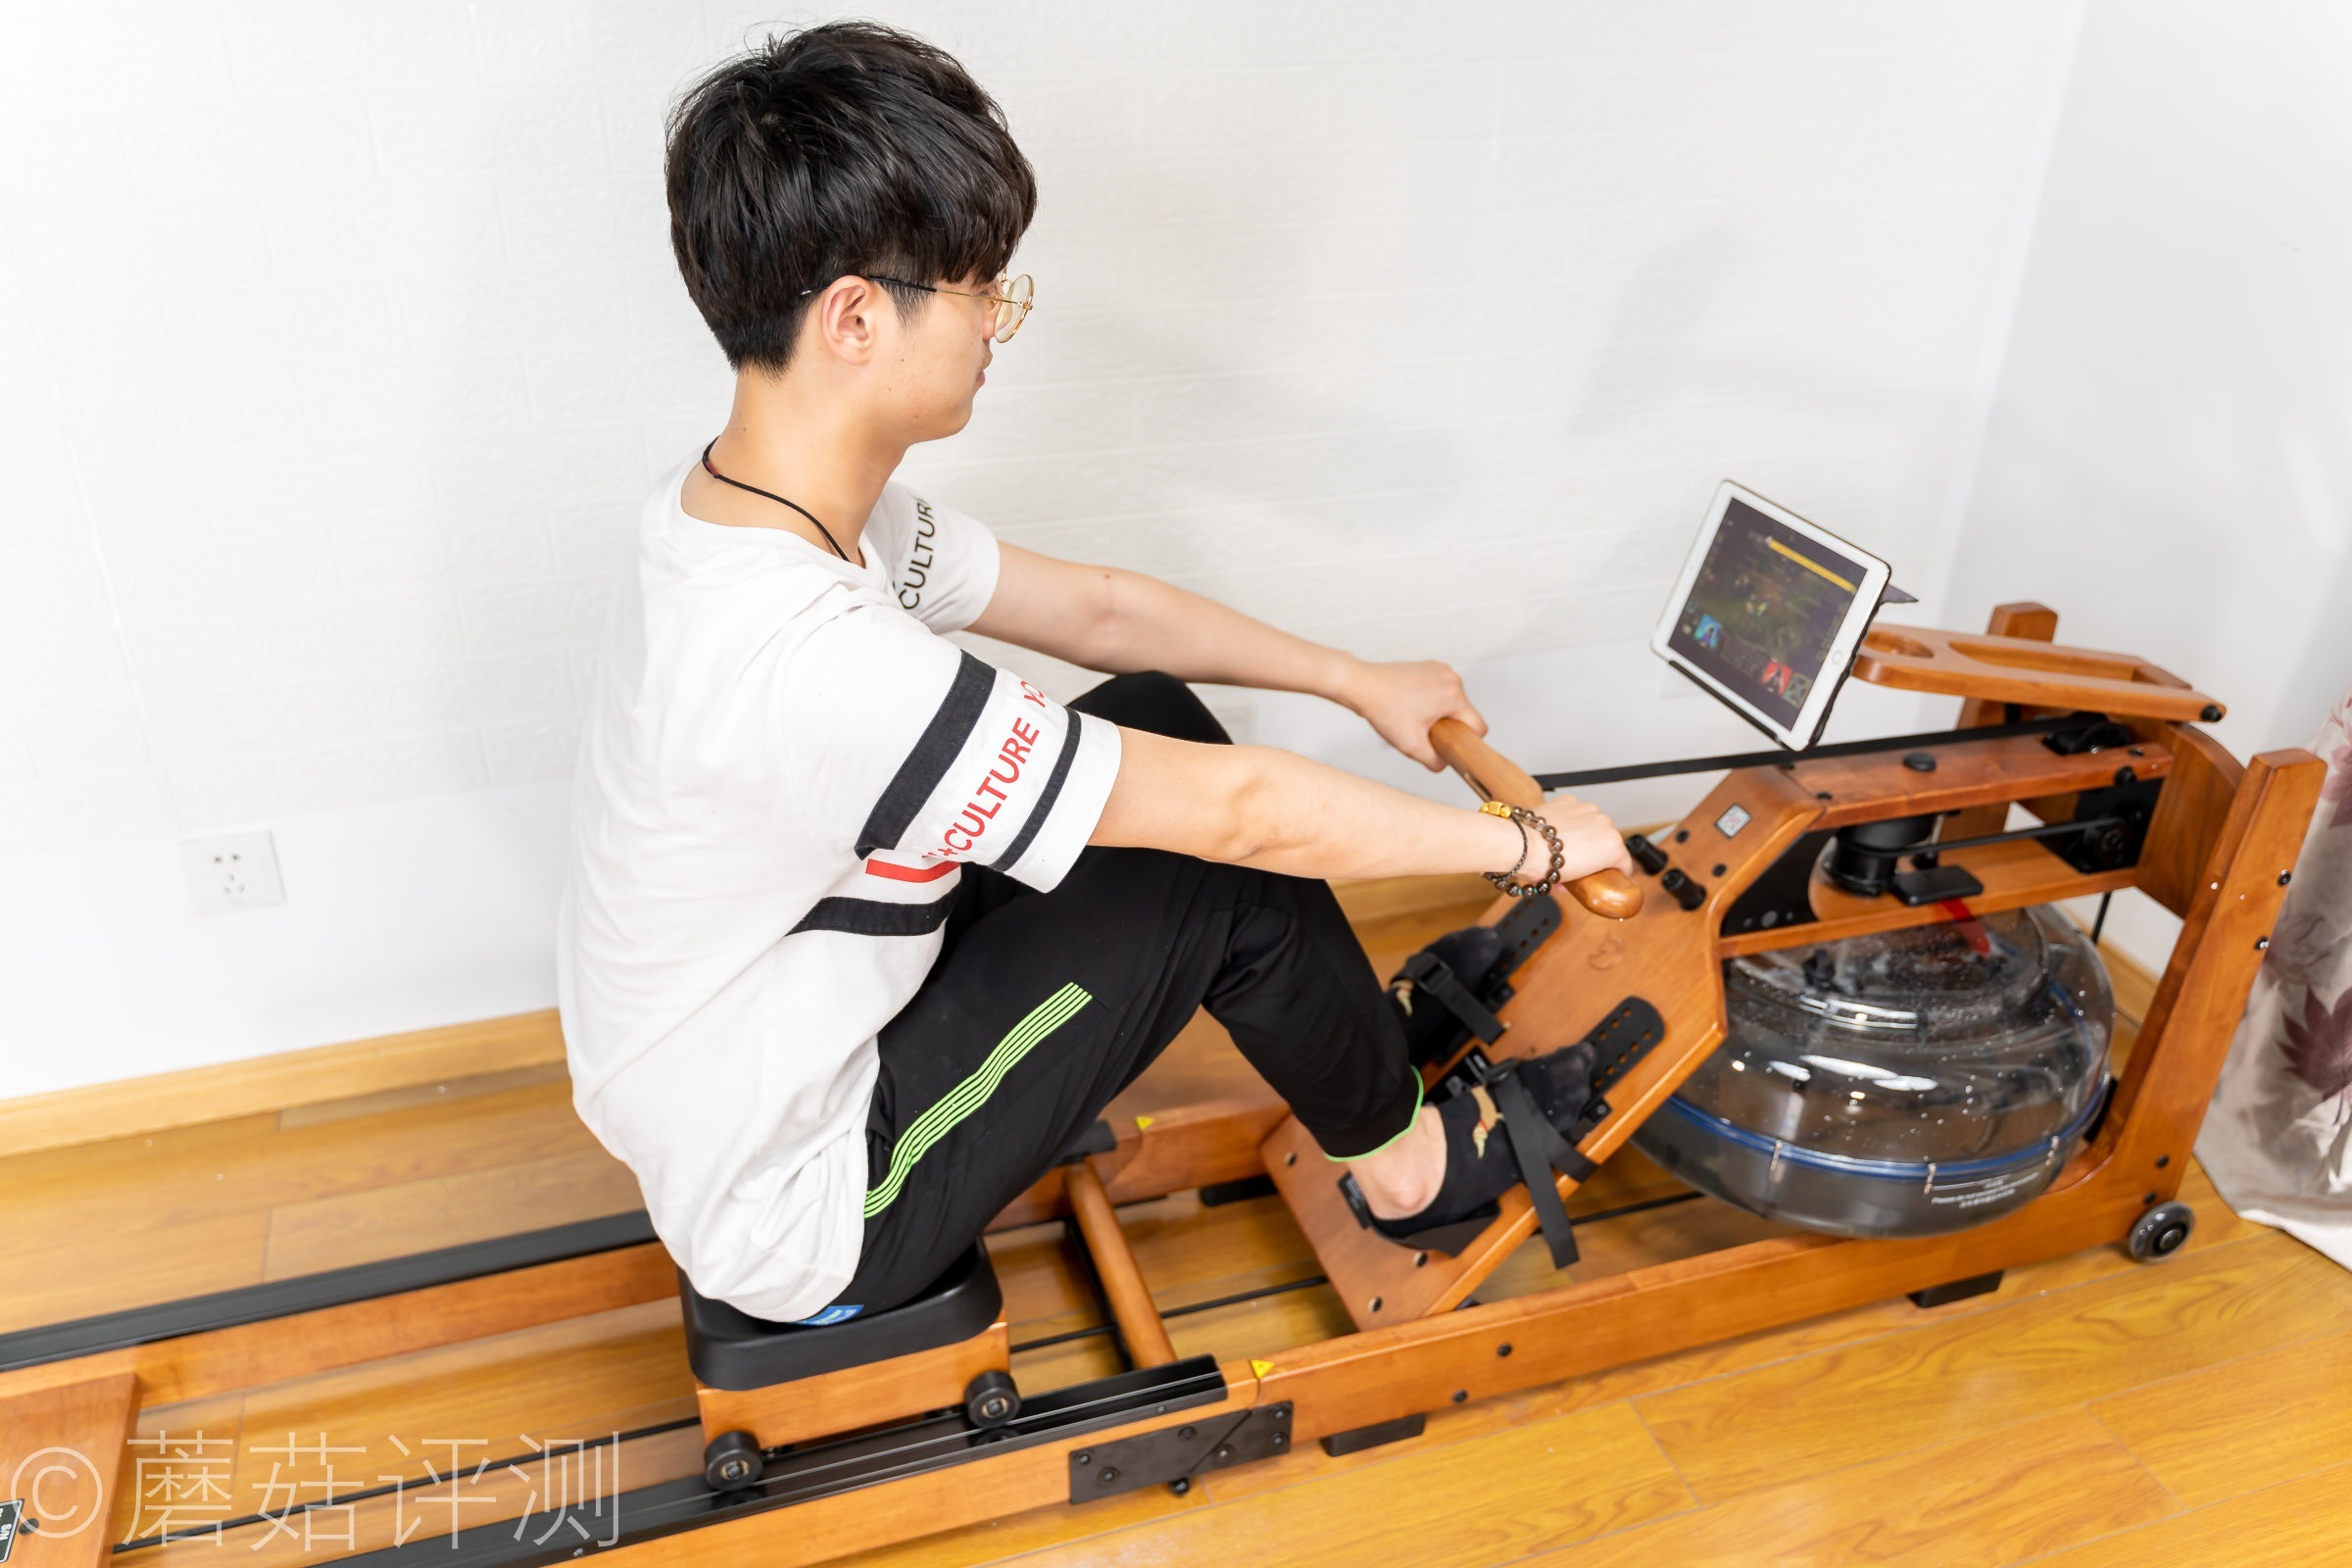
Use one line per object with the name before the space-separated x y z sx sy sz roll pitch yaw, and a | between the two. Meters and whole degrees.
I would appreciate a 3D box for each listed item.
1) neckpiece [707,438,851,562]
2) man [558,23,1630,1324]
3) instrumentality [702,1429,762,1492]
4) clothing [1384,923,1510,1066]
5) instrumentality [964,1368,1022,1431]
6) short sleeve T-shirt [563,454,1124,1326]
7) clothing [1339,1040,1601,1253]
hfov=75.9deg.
neckpiece | -0.470 -0.322 1.727 0.150 0.034 0.148 28 4 16
man | -0.036 -0.116 2.048 1.587 1.468 0.987 -5 23 -24
instrumentality | -0.554 0.843 1.875 0.062 0.059 0.025 -32 31 1
clothing | 0.408 0.319 2.277 0.131 0.099 0.292 20 15 5
instrumentality | -0.239 0.788 1.929 0.063 0.058 0.032 -22 36 8
short sleeve T-shirt | -0.401 0.160 1.977 0.802 0.893 0.706 -13 17 -10
clothing | 0.461 0.507 2.104 0.162 0.362 0.187 11 49 -60
